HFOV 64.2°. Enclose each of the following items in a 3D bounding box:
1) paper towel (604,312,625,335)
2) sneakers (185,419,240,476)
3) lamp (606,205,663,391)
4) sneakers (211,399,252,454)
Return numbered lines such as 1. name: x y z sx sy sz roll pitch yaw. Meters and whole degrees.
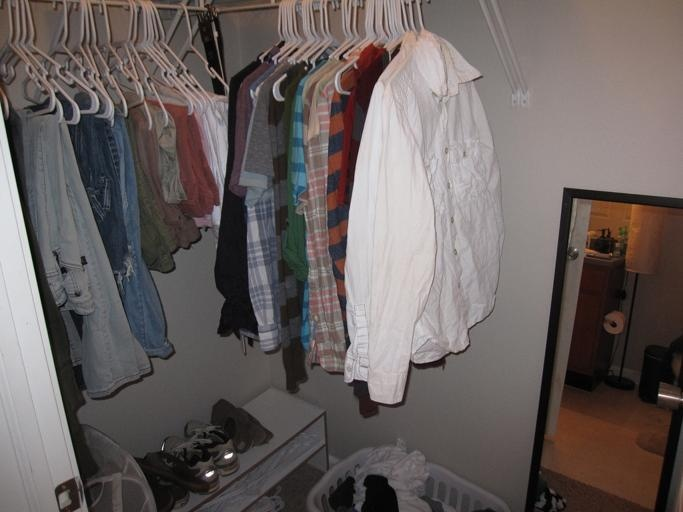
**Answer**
1. paper towel: 0.949 0.230 1.897 0.066 0.094 0.046 0 7 43
2. sneakers: -0.568 0.801 2.439 0.121 0.153 0.342 -16 33 -39
3. lamp: 0.990 0.153 1.846 0.112 0.651 0.031 8 14 33
4. sneakers: -0.511 0.786 2.562 0.122 0.067 0.238 -27 52 -32
